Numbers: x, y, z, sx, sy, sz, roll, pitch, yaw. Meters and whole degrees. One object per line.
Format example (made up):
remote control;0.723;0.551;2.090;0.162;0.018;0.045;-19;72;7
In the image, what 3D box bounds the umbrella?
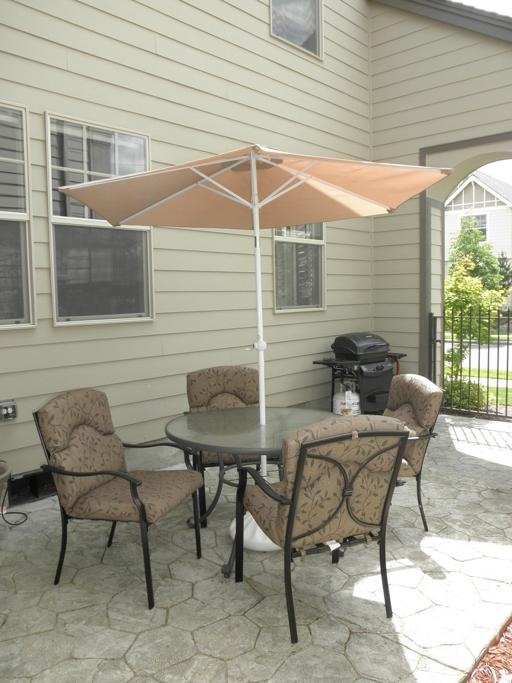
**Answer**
umbrella;0.021;-0.234;3.261;1.839;1.442;1.764;-1;-1;3
